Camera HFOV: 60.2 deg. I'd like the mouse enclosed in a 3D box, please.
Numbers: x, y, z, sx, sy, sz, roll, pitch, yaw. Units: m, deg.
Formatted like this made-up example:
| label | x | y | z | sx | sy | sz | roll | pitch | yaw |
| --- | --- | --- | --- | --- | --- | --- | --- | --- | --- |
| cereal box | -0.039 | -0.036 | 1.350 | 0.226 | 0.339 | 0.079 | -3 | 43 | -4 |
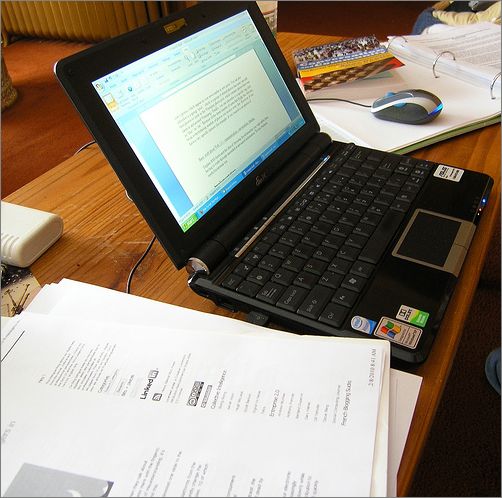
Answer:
| label | x | y | z | sx | sy | sz | roll | pitch | yaw |
| --- | --- | --- | --- | --- | --- | --- | --- | --- | --- |
| mouse | 0.273 | -0.246 | 0.755 | 0.104 | 0.039 | 0.064 | 13 | 53 | 32 |
